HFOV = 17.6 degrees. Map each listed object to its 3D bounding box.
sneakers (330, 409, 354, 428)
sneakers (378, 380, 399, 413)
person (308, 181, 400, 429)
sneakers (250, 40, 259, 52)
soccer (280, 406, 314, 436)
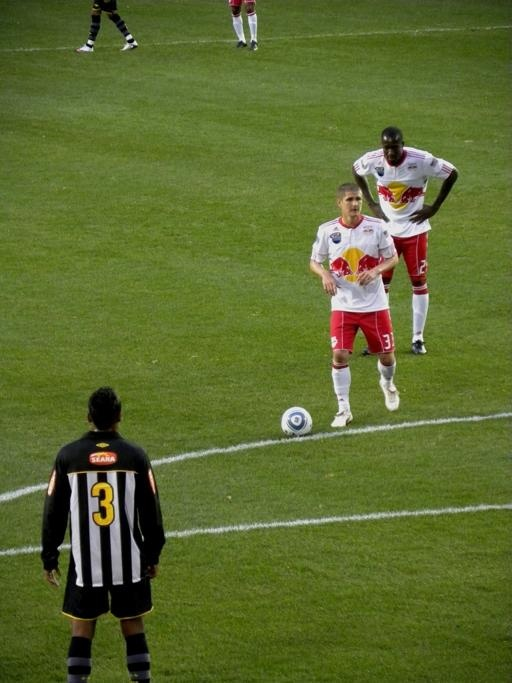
[{"bbox_3d":[0.716,0.628,13.894,0.085,0.097,0.229,2,8,21],"label":"sneakers"},{"bbox_3d":[1.140,0.448,14.153,0.126,0.307,0.128,-11,1,-15],"label":"sneakers"},{"bbox_3d":[0.817,-0.329,13.860,0.720,2.024,0.513,0,9,4],"label":"person"},{"bbox_3d":[-0.058,-4.895,27.448,0.107,0.274,0.180,-3,10,-5],"label":"sneakers"},{"bbox_3d":[0.330,0.642,13.636,0.216,0.247,0.223,3,15,16],"label":"soccer"}]
